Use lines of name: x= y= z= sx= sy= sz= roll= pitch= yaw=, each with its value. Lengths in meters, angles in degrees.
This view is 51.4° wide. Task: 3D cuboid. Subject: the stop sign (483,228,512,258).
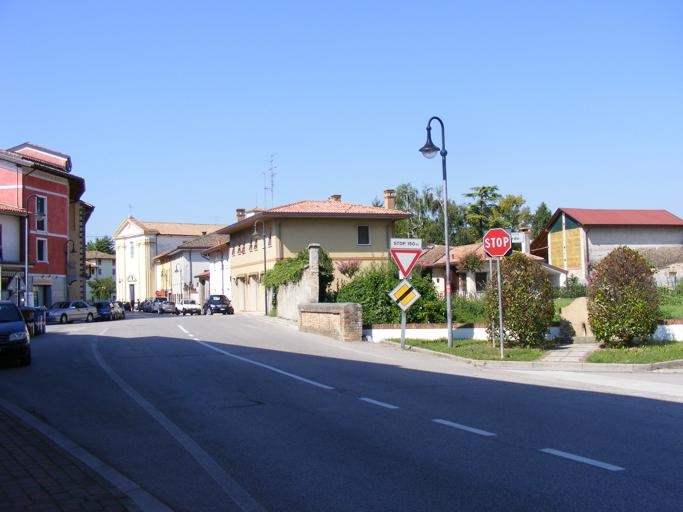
stop sign: x=4.563 y=-0.402 z=20.936 sx=0.728 sy=0.863 sz=1.013 roll=-1 pitch=0 yaw=13

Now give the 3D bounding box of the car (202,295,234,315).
car: x=-9.353 y=3.680 z=53.108 sx=1.353 sy=1.033 sz=3.223 roll=0 pitch=-1 yaw=-44

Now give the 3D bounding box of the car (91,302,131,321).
car: x=-16.602 y=4.025 z=50.660 sx=0.985 sy=0.877 sz=2.449 roll=-1 pitch=-13 yaw=-1

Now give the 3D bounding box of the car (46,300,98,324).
car: x=-17.647 y=3.712 z=46.053 sx=1.270 sy=1.029 sz=2.868 roll=-6 pitch=-11 yaw=32
